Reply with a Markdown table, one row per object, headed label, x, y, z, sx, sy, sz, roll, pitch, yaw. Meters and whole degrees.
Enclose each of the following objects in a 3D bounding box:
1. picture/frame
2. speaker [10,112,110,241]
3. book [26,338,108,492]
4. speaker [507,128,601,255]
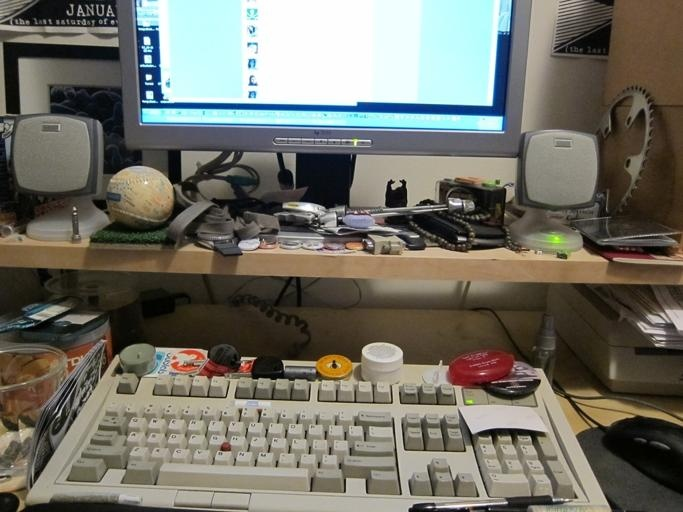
| label | x | y | z | sx | sy | sz | roll | pitch | yaw |
| --- | --- | --- | --- | --- | --- | --- | --- | --- | --- |
| picture/frame | -0.532 | -0.293 | 1.159 | 0.281 | 0.275 | 0.198 | -1 | 15 | -8 |
| speaker | -0.435 | -0.131 | 0.890 | 0.149 | 0.198 | 0.131 | 1 | 15 | -12 |
| book | -0.373 | 0.218 | 0.708 | 0.020 | 0.124 | 0.180 | 21 | 10 | -12 |
| speaker | 0.358 | -0.118 | 0.911 | 0.143 | 0.195 | 0.154 | 12 | 22 | 35 |
